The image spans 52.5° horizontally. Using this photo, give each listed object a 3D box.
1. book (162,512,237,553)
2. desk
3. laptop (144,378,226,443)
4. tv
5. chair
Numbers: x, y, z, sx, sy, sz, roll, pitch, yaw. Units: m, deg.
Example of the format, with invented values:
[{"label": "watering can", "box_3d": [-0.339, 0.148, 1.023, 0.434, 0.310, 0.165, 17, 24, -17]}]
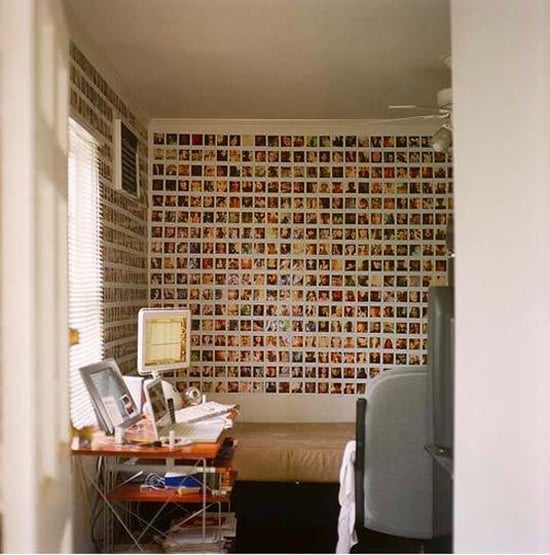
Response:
[{"label": "book", "box_3d": [-0.364, 1.274, 2.768, 0.330, 0.091, 0.363, -1, -1, -4]}, {"label": "desk", "box_3d": [-0.578, 0.926, 2.596, 0.421, 0.625, 0.834, 0, -3, 2]}, {"label": "laptop", "box_3d": [-0.395, 0.589, 2.627, 0.362, 0.257, 0.612, -3, -3, -1]}, {"label": "tv", "box_3d": [-0.575, 0.320, 2.876, 0.034, 0.353, 0.341, -3, -4, 34]}, {"label": "chair", "box_3d": [0.510, 0.796, 2.443, 0.338, 0.795, 0.191, -3, -3, 12]}]
